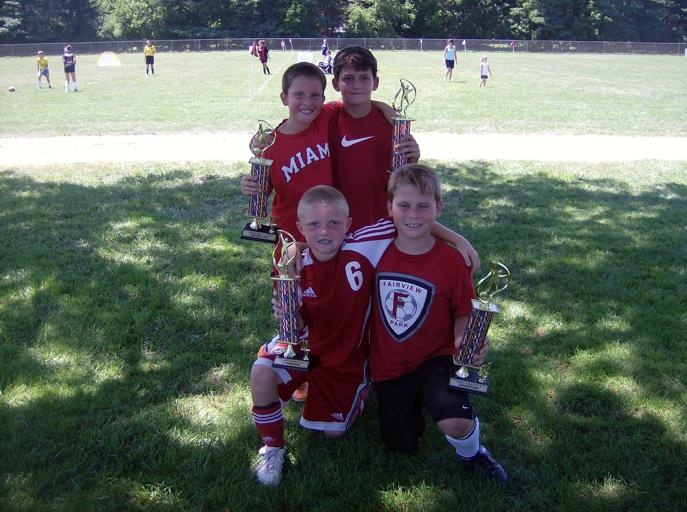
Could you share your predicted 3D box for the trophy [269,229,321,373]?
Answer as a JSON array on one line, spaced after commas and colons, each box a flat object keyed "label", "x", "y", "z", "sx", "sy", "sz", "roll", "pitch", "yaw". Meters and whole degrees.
[{"label": "trophy", "x": -0.369, "y": 0.321, "z": 4.435, "sx": 0.289, "sy": 0.924, "sz": 0.341, "roll": -3, "pitch": 21, "yaw": -19}]

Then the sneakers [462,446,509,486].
[{"label": "sneakers", "x": 0.984, "y": 1.446, "z": 4.471, "sx": 0.433, "sy": 0.158, "sz": 0.179, "roll": 26, "pitch": -7, "yaw": 31}]

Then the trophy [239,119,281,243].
[{"label": "trophy", "x": -0.642, "y": -0.549, "z": 5.008, "sx": 0.269, "sy": 0.868, "sz": 0.271, "roll": 1, "pitch": 2, "yaw": -13}]

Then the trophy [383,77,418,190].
[{"label": "trophy", "x": 0.429, "y": -0.948, "z": 4.828, "sx": 0.186, "sy": 0.695, "sz": 0.140, "roll": 3, "pitch": 15, "yaw": -16}]

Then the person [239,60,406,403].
[{"label": "person", "x": -0.399, "y": -0.247, "z": 5.629, "sx": 1.067, "sy": 2.758, "sz": 1.250, "roll": 2, "pitch": 24, "yaw": -17}]

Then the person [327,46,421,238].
[{"label": "person", "x": 0.200, "y": -0.912, "z": 5.097, "sx": 0.489, "sy": 1.681, "sz": 0.571, "roll": 0, "pitch": 4, "yaw": -6}]
